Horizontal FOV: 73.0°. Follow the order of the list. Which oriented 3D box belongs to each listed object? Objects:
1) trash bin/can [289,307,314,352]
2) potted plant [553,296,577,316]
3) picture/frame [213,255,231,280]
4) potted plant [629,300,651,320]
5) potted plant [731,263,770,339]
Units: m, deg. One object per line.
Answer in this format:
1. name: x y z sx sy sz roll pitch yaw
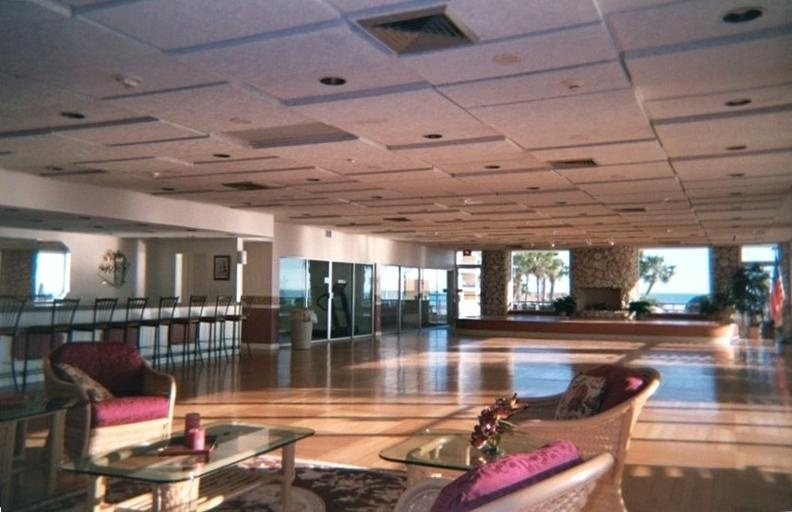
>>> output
1. trash bin/can: -2.470 1.895 14.004 0.558 1.050 0.356 0 -5 -11
2. potted plant: 6.622 1.988 21.167 0.956 0.672 0.884 -3 -2 27
3. picture/frame: -4.233 0.286 13.018 0.790 0.640 0.061 -2 -5 26
4. potted plant: 9.758 2.207 21.276 1.008 0.622 0.843 -3 7 -1
5. potted plant: 12.608 1.414 19.288 1.509 2.267 1.047 -2 -5 6
